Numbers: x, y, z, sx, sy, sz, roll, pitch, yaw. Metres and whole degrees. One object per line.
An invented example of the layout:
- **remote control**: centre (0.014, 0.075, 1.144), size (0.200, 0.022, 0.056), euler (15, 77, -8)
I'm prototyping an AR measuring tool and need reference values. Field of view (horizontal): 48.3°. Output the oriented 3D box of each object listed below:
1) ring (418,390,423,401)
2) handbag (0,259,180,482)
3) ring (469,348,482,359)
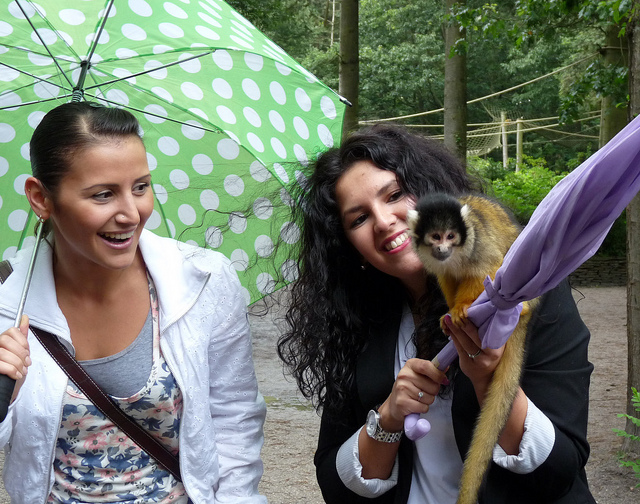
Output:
- **ring**: centre (0.354, 0.498, 2.499), size (0.009, 0.017, 0.016), euler (29, 19, 4)
- **handbag**: centre (-0.822, 0.589, 2.729), size (0.544, 0.625, 0.146), euler (0, 8, 13)
- **ring**: centre (0.525, 0.346, 2.417), size (0.045, 0.041, 0.020), euler (5, 11, 43)
